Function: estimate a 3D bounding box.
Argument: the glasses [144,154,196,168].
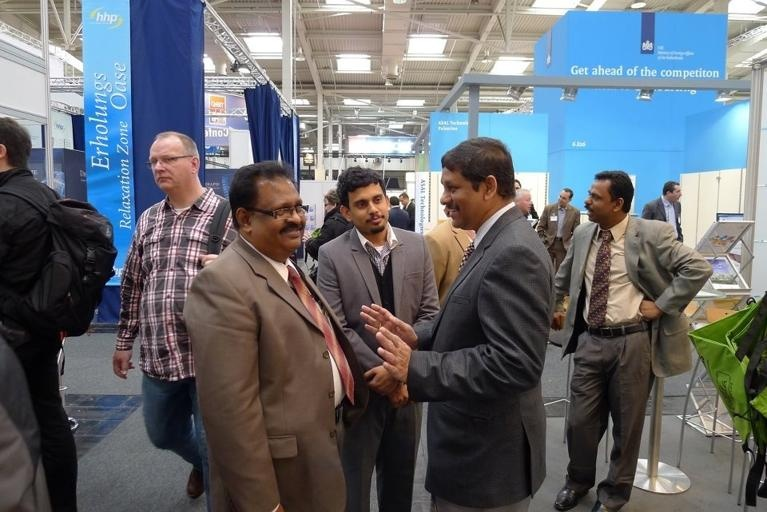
[{"bbox_3d":[-1.452,-0.648,3.904,0.315,0.097,0.131,0,7,-13],"label":"glasses"}]

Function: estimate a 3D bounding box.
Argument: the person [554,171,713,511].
[{"bbox_3d":[1.787,0.636,4.258,0.971,2.512,0.617,4,7,16],"label":"person"}]

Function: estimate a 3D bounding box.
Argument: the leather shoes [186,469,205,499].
[{"bbox_3d":[-1.416,1.726,4.267,0.099,0.107,0.246,13,23,-20],"label":"leather shoes"}]

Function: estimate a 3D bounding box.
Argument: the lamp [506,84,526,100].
[{"bbox_3d":[1.837,-2.222,7.856,0.188,0.197,0.848,3,7,12],"label":"lamp"}]

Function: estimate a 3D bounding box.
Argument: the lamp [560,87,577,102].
[{"bbox_3d":[2.590,-2.227,7.891,0.174,0.165,0.374,5,8,20],"label":"lamp"}]
